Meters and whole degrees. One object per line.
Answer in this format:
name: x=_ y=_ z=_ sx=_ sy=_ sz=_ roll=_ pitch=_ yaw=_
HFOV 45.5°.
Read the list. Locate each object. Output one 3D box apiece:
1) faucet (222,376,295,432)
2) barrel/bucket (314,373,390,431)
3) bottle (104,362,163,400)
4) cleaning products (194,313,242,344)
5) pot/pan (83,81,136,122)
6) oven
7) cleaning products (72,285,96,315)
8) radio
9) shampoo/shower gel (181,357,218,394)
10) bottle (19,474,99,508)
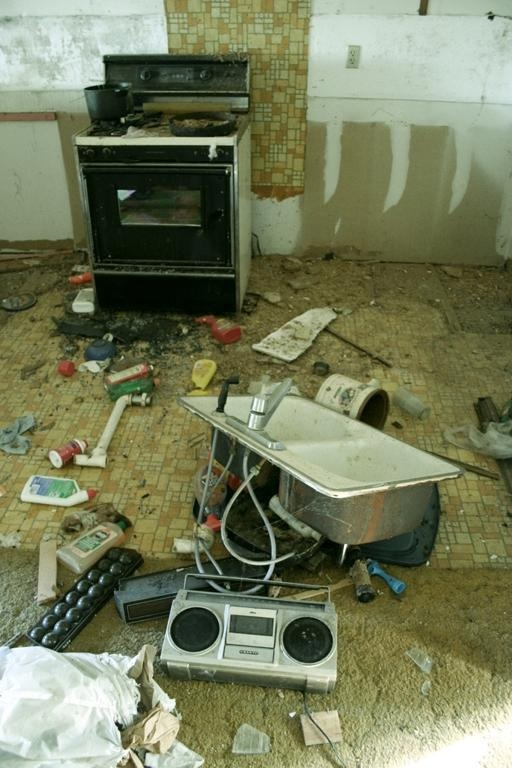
faucet: x=0.038 y=0.075 z=1.786 sx=0.136 sy=0.054 sz=0.178 roll=19 pitch=41 yaw=30
barrel/bucket: x=0.408 y=0.033 z=2.588 sx=0.285 sy=0.241 sz=0.302 roll=11 pitch=15 yaw=-3
bottle: x=-0.604 y=-0.020 z=3.009 sx=0.295 sy=0.098 sz=0.216 roll=-22 pitch=37 yaw=-31
cleaning products: x=-0.204 y=-0.299 z=3.453 sx=0.134 sy=0.095 sz=0.226 roll=-38 pitch=54 yaw=-20
pot/pan: x=-0.765 y=-1.472 z=3.203 sx=0.257 sy=0.204 sz=0.308 roll=-6 pitch=32 yaw=-13
oven: x=-0.480 y=-0.901 z=3.449 sx=0.708 sy=0.754 sz=0.695 roll=3 pitch=45 yaw=5
cleaning products: x=-1.009 y=-0.508 z=3.625 sx=0.118 sy=0.064 sz=0.195 roll=-2 pitch=35 yaw=-1
radio: x=-0.013 y=0.727 z=1.740 sx=0.464 sy=0.154 sz=0.257 roll=5 pitch=39 yaw=3
shampoo/shower gel: x=-0.271 y=-0.042 z=3.033 sx=0.105 sy=0.041 sz=0.171 roll=7 pitch=52 yaw=23
bottle: x=-0.779 y=0.425 z=2.413 sx=0.277 sy=0.048 sz=0.132 roll=2 pitch=31 yaw=5
